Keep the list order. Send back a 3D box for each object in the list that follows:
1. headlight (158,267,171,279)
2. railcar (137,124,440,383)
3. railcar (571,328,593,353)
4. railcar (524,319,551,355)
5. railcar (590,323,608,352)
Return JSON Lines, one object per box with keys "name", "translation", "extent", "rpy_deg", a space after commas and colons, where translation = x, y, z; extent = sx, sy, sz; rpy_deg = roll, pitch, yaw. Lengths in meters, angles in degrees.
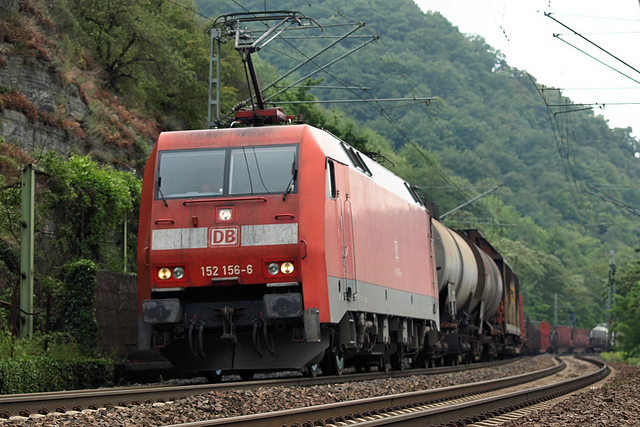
{"name": "headlight", "translation": [-3.660, 1.400, 16.795], "extent": [0.229, 0.237, 0.097], "rpy_deg": [5, 3, 10]}
{"name": "railcar", "translation": [-0.861, 1.249, 18.116], "extent": [2.759, 3.629, 8.067], "rpy_deg": [-1, -6, 15]}
{"name": "railcar", "translation": [27.966, 12.804, 75.027], "extent": [2.518, 2.936, 4.551], "rpy_deg": [-3, -15, 14]}
{"name": "railcar", "translation": [19.209, 11.012, 61.964], "extent": [1.190, 2.338, 5.669], "rpy_deg": [-5, -14, 6]}
{"name": "railcar", "translation": [29.534, 12.976, 75.308], "extent": [1.656, 3.227, 8.141], "rpy_deg": [5, 4, 21]}
